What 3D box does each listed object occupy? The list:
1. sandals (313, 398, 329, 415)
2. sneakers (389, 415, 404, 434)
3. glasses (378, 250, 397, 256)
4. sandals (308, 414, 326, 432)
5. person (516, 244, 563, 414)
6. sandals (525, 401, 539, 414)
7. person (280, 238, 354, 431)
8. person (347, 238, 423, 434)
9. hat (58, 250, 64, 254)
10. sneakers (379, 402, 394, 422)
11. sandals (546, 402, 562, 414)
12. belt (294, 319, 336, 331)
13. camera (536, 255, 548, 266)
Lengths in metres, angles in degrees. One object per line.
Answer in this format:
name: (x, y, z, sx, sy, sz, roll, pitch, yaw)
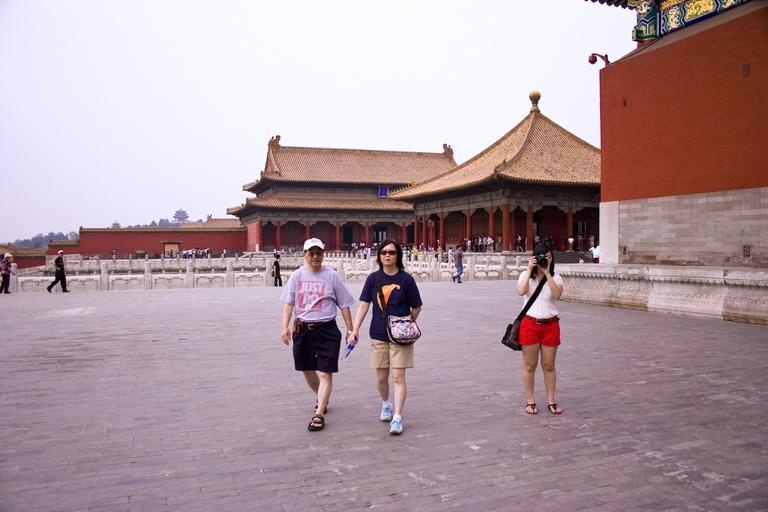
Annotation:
sandals: (-0.677, 1.616, 6.070, 0.102, 0.120, 0.302, 2, 4, -1)
sneakers: (0.118, 1.647, 5.699, 0.145, 0.174, 0.228, -1, 5, 0)
glasses: (0.044, -0.033, 5.866, 0.163, 0.052, 0.071, -1, 5, 1)
sandals: (-0.690, 1.655, 5.802, 0.183, 0.146, 0.249, -2, 5, -7)
person: (1.661, 0.767, 6.141, 0.444, 1.773, 0.328, -1, 5, 4)
sandals: (1.576, 1.623, 6.130, 0.098, 0.067, 0.231, 0, -6, 7)
person: (-0.706, 0.757, 6.090, 0.736, 1.879, 0.938, -2, 5, -11)
person: (-0.009, 0.775, 5.901, 0.649, 1.878, 0.576, 2, 5, 31)
hat: (-18.004, -0.233, 31.798, 0.175, 0.242, 0.636, 2, 10, -12)
sneakers: (0.015, 1.625, 6.036, 0.086, 0.098, 0.242, 0, 0, 4)
sandals: (1.816, 1.629, 6.140, 0.095, 0.065, 0.217, -2, -3, 4)
belt: (-0.740, 0.717, 6.019, 0.445, 0.137, 0.144, -2, 5, -7)
camera: (1.681, 0.046, 6.110, 0.094, 0.096, 0.099, -2, -2, 0)
